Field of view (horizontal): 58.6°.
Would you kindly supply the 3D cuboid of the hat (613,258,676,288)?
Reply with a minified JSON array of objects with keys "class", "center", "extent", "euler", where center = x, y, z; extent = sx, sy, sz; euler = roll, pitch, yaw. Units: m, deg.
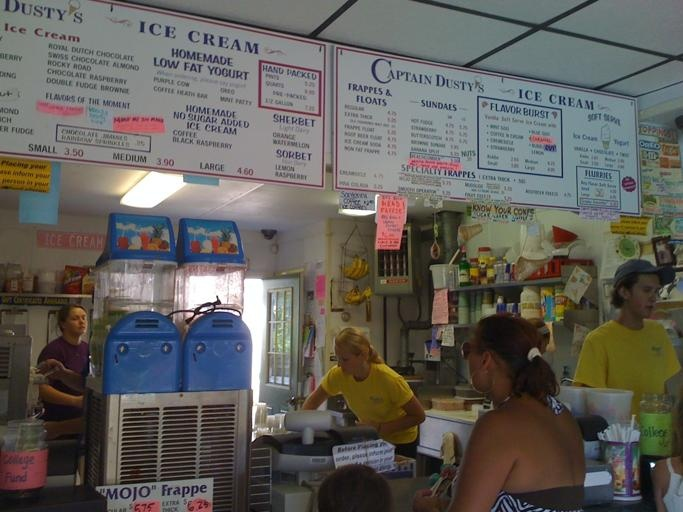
[{"class":"hat","center":[1.673,0.114,3.354],"extent":[0.235,0.125,0.158],"euler":[-18,-12,28]}]

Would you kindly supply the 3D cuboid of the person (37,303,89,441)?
[{"class":"person","center":[-2.148,0.917,4.701],"extent":[0.375,1.085,2.213],"euler":[1,-5,-24]}]
